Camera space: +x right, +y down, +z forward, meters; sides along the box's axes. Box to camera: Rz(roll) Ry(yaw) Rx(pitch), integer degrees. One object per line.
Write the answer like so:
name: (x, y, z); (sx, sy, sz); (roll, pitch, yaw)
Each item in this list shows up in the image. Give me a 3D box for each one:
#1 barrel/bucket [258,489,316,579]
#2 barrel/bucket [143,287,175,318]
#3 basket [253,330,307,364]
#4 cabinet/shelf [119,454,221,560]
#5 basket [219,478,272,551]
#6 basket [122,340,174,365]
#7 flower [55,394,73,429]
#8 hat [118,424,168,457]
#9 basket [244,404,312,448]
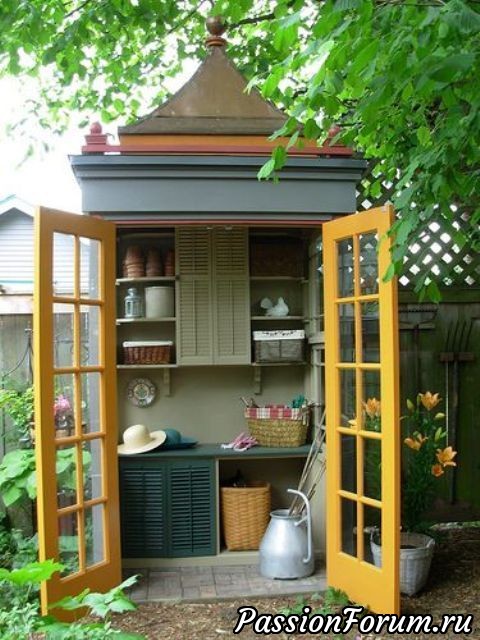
barrel/bucket: (0.265, 1.227, 3.341); (0.322, 0.529, 0.410); (-2, -3, 2)
barrel/bucket: (-0.526, -0.108, 3.909); (0.213, 0.210, 0.207); (0, 1, 0)
basket: (0.262, 0.183, 3.850); (0.260, 0.152, 0.258); (-1, -5, 7)
cabinet/shelf: (-0.460, 1.185, 3.575); (0.669, 0.607, 0.249); (0, -4, -5)
basket: (0.034, 1.286, 3.772); (0.376, 0.413, 0.381); (0, -9, -1)
basket: (-0.615, 0.222, 3.838); (0.245, 0.105, 0.170); (-1, -3, -3)
flower: (-0.846, 0.447, 2.767); (0.027, 0.164, 0.131); (-2, -3, 11)
hat: (-0.631, 0.776, 3.740); (0.317, 0.168, 0.268); (-1, -3, -16)
basket: (0.255, 0.714, 3.780); (0.425, 0.230, 0.279); (-1, -11, 9)
